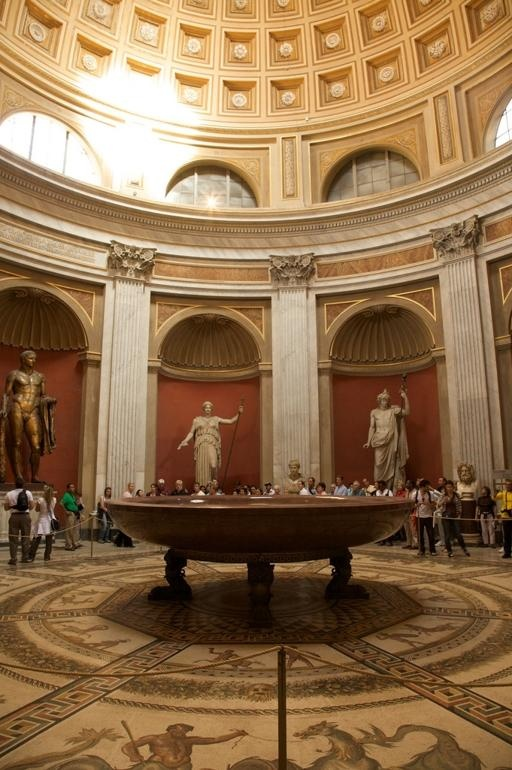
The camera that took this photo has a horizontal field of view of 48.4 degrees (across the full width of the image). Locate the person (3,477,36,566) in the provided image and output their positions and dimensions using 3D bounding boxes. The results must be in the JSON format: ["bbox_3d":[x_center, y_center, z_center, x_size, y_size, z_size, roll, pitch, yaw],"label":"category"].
[{"bbox_3d":[-2.883,1.637,6.886,0.307,0.985,1.275,3,-9,-21],"label":"person"}]
